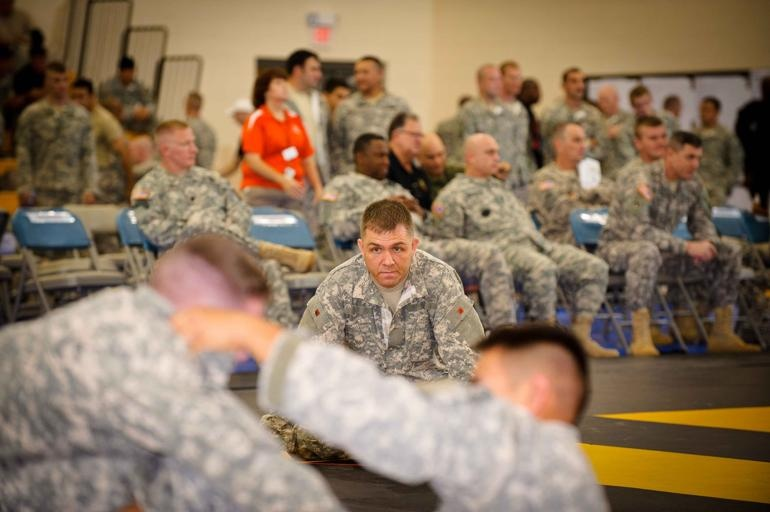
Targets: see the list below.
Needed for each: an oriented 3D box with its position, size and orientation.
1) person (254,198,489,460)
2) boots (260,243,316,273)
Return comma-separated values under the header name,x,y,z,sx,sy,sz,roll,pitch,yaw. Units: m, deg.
name,x,y,z,sx,sy,sz,roll,pitch,yaw
person,0.000,0.350,3.567,1.161,1.205,0.895,-1,20,4
boots,-0.678,0.013,4.879,0.401,0.159,0.164,18,-31,-11
